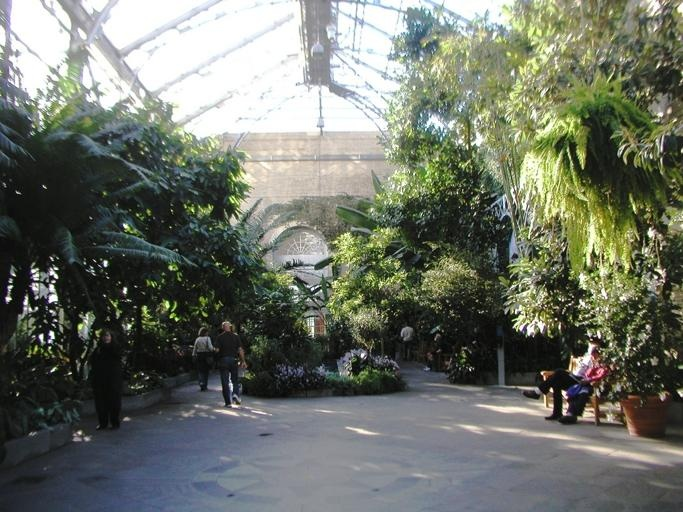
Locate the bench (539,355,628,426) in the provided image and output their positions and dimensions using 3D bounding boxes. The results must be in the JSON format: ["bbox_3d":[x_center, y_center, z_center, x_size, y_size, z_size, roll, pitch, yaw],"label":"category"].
[{"bbox_3d":[3.827,1.989,8.798,0.638,1.365,0.601,7,3,2],"label":"bench"}]

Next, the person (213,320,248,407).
[{"bbox_3d":[-2.263,2.163,11.411,0.525,1.815,0.712,-1,11,-9],"label":"person"}]

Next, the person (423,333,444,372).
[{"bbox_3d":[3.257,3.350,19.656,0.560,1.344,1.699,-1,-5,5],"label":"person"}]

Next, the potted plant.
[{"bbox_3d":[4.061,1.411,7.577,0.998,2.093,0.474,-2,-3,28],"label":"potted plant"}]

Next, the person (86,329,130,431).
[{"bbox_3d":[-3.725,1.946,8.825,0.470,1.526,0.444,0,-3,-10],"label":"person"}]

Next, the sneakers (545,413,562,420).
[{"bbox_3d":[3.413,2.581,8.977,0.259,0.132,0.097,2,-9,11],"label":"sneakers"}]

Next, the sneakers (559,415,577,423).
[{"bbox_3d":[3.513,2.538,8.669,0.266,0.126,0.107,1,-9,-7],"label":"sneakers"}]

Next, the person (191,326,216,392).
[{"bbox_3d":[-3.559,2.671,14.508,0.565,1.609,0.455,-1,-7,-3],"label":"person"}]

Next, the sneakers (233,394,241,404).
[{"bbox_3d":[-2.088,2.929,11.169,0.086,0.276,0.108,-6,30,-1],"label":"sneakers"}]

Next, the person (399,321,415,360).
[{"bbox_3d":[2.722,3.666,23.014,0.585,1.876,0.532,3,-24,-1],"label":"person"}]
